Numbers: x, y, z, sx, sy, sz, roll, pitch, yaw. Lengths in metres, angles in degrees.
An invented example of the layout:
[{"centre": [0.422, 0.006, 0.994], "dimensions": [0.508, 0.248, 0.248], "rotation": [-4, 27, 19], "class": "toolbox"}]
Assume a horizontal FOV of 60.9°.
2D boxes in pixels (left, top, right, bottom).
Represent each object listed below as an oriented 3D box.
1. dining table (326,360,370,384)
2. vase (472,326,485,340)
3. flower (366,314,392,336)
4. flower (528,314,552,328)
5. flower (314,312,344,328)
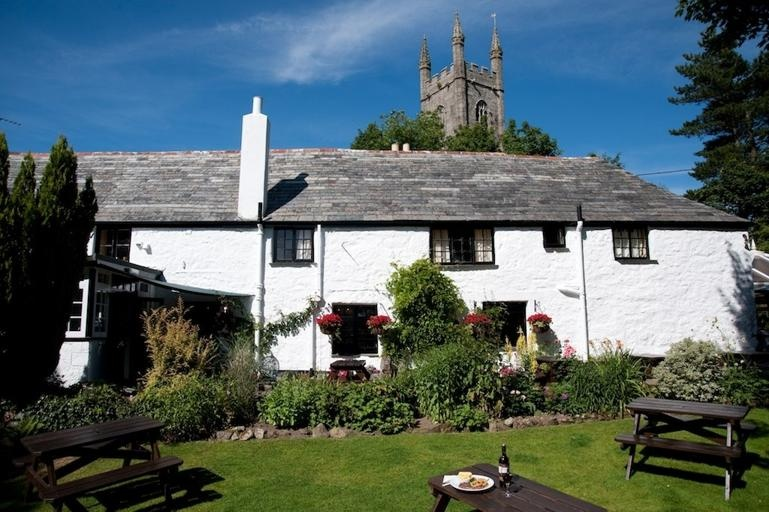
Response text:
[{"centre": [-1.278, 4.177, 24.374], "dimensions": [1.777, 0.801, 1.333], "rotation": [4, -12, -21], "class": "dining table"}, {"centre": [3.720, 2.970, 25.757], "dimensions": [0.466, 0.279, 0.441], "rotation": [4, -45, 15], "class": "vase"}, {"centre": [-0.196, 2.666, 25.626], "dimensions": [0.762, 0.590, 0.784], "rotation": [-6, -7, 35], "class": "flower"}, {"centre": [6.243, 2.625, 26.366], "dimensions": [0.625, 0.412, 0.634], "rotation": [1, -6, 2], "class": "flower"}, {"centre": [-2.177, 2.497, 25.680], "dimensions": [0.641, 0.425, 0.637], "rotation": [6, -6, -29], "class": "flower"}]
